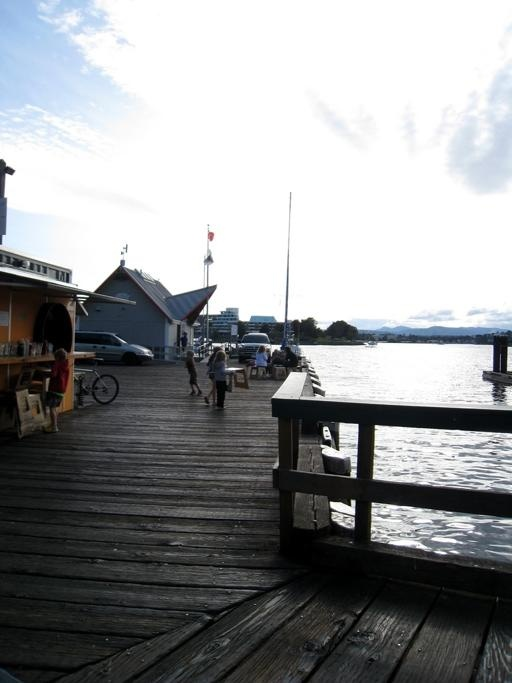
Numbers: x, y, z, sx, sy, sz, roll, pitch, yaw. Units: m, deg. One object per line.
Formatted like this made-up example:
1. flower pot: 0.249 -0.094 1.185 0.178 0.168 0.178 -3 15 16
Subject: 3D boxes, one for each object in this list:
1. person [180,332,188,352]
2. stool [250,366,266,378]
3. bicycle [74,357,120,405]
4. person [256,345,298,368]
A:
1. person: -4.779 -0.029 35.845 0.374 1.021 2.270 1 0 -9
2. stool: 0.138 1.172 21.162 0.466 0.379 0.481 0 1 -7
3. bicycle: -4.628 1.109 16.037 1.844 1.140 0.792 8 -9 -42
4. person: 0.909 0.469 22.340 1.104 0.582 1.148 0 -9 5
